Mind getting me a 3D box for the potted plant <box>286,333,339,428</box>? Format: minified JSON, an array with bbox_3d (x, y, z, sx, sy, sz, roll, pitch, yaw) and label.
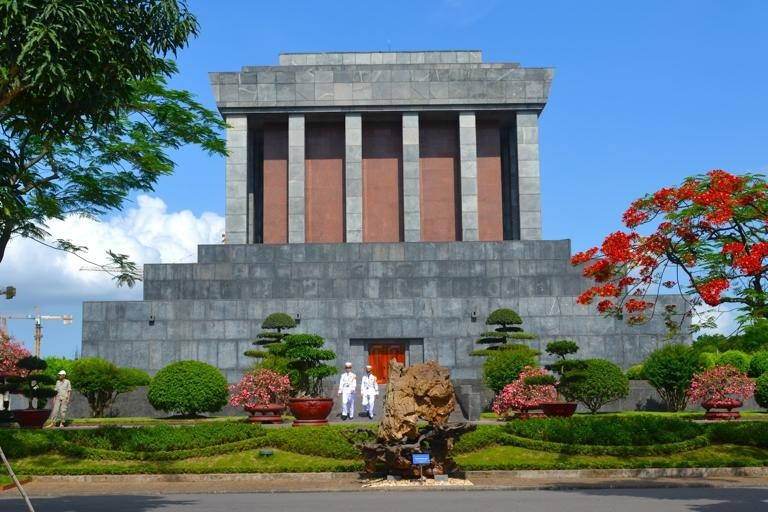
[{"bbox_3d":[-2.714,4.397,60.490,2.006,3.193,2.433,2,-4,36],"label":"potted plant"}]
